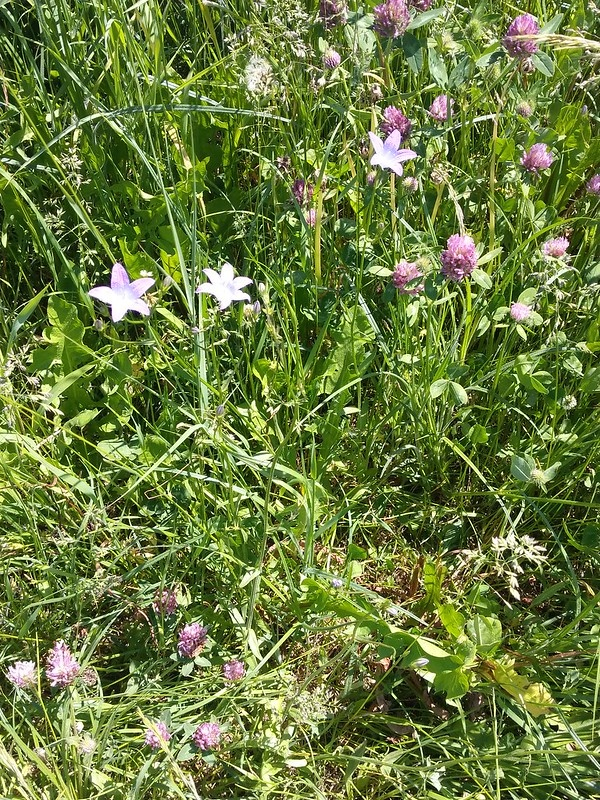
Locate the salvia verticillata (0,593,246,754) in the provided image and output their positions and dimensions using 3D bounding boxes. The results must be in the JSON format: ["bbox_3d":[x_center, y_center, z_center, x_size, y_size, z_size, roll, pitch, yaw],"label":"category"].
[{"bbox_3d":[-0.395,0.572,1.486,0.540,0.392,0.313,7,74,6],"label":"salvia verticillata"}]
